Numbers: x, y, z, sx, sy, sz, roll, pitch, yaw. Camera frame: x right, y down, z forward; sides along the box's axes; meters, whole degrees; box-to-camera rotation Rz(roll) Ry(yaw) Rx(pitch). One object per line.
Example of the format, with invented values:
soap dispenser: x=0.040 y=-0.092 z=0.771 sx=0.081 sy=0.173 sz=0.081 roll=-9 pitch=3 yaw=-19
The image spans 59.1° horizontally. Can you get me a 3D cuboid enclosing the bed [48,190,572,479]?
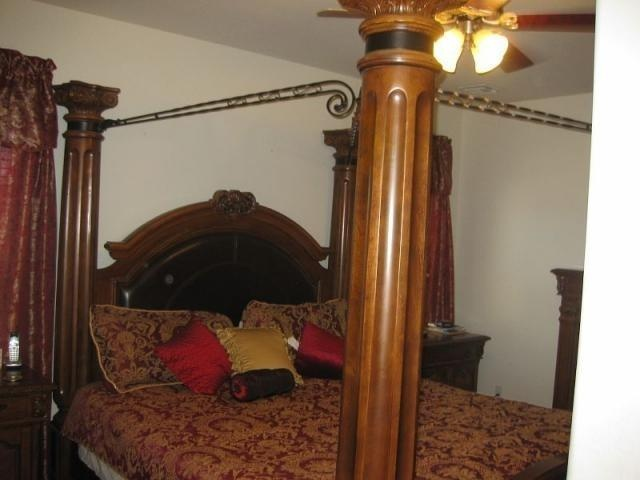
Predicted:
bed: x=-0.566 y=0.623 z=4.060 sx=1.801 sy=1.200 sz=1.718 roll=-4 pitch=5 yaw=-42

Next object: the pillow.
pillow: x=-0.631 y=0.614 z=3.528 sx=1.490 sy=0.459 sz=0.542 roll=0 pitch=5 yaw=-25
